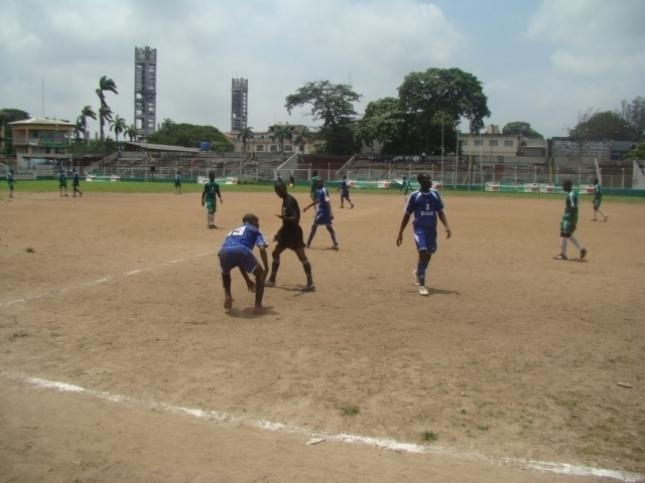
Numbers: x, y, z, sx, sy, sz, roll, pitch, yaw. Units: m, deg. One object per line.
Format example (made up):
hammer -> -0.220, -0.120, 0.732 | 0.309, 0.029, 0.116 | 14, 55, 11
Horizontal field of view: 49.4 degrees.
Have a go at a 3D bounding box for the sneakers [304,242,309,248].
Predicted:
sneakers -> -0.334, 0.075, 14.903 | 0.047, 0.098, 0.139 | 10, -33, 20

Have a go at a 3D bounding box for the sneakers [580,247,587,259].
sneakers -> 6.085, 0.285, 16.245 | 0.154, 0.215, 0.471 | 0, 3, 14

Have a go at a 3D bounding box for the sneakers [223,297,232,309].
sneakers -> -1.480, 0.986, 10.978 | 0.113, 0.251, 0.312 | 0, 9, -6
